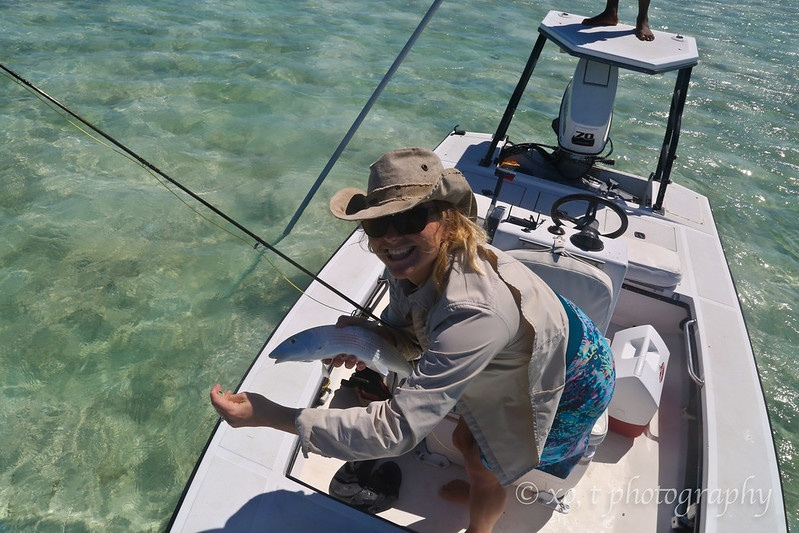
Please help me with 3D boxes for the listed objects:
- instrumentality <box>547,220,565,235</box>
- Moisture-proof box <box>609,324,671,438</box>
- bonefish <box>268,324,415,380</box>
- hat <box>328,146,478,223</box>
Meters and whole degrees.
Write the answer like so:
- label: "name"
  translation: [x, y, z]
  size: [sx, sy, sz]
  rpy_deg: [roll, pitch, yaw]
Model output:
- label: "instrumentality"
  translation: [1.251, -0.303, 4.467]
  size: [0.118, 0.123, 0.110]
  rpy_deg: [-34, 31, -8]
- label: "Moisture-proof box"
  translation: [1.956, 0.940, 4.587]
  size: [0.470, 0.642, 0.700]
  rpy_deg: [8, 50, 5]
- label: "bonefish"
  translation: [-0.350, 0.549, 3.871]
  size: [1.040, 0.146, 0.415]
  rpy_deg: [-2, 85, -22]
- label: "hat"
  translation: [0.009, -0.544, 3.719]
  size: [0.814, 0.384, 1.039]
  rpy_deg: [-3, 4, 23]
